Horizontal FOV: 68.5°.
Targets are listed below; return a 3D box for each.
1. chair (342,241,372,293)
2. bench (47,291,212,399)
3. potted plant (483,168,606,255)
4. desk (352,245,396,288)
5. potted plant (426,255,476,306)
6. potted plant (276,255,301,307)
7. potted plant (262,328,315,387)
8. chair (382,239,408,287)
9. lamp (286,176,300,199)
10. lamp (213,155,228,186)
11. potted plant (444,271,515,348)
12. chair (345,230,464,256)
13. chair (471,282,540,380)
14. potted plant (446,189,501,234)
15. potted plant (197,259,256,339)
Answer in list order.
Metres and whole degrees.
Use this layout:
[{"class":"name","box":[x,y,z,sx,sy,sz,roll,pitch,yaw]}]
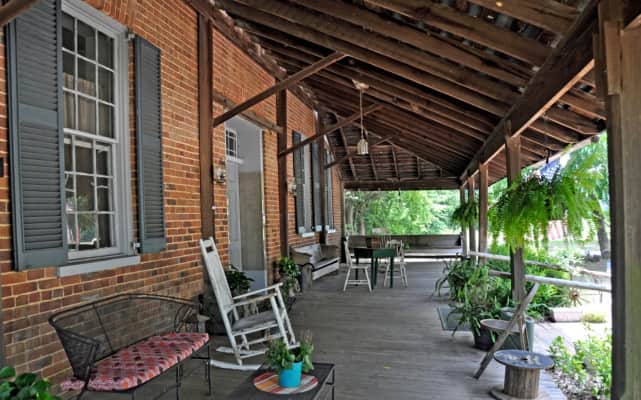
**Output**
[{"class":"chair","box":[0.811,1.495,10.409,0.808,1.012,0.793,4,-6,-19]},{"class":"bench","box":[-2.098,1.586,5.045,0.719,0.891,1.464,-1,-2,18]},{"class":"potted plant","box":[2.167,0.032,4.273,0.847,0.563,0.767,-17,-11,-26]},{"class":"desk","box":[1.181,1.652,10.315,0.760,1.030,1.246,2,-7,-8]},{"class":"potted plant","box":[2.483,1.475,8.494,0.942,0.695,0.977,-3,-12,20]},{"class":"potted plant","box":[-0.620,1.554,9.026,0.435,0.745,0.449,5,-14,18]},{"class":"potted plant","box":[-0.322,1.563,4.622,0.478,0.484,0.508,-2,-5,-3]},{"class":"chair","box":[1.878,1.473,11.231,0.574,1.009,0.694,7,-5,-34]},{"class":"lamp","box":[-0.629,-0.270,10.314,0.155,0.487,0.529,-2,-3,27]},{"class":"lamp","box":[-1.561,-0.453,7.364,0.165,0.425,0.159,4,4,-26]},{"class":"potted plant","box":[2.190,1.619,7.065,0.942,1.120,0.839,-4,0,26]},{"class":"chair","box":[3.409,1.719,16.571,3.104,1.086,0.738,-2,-3,11]},{"class":"chair","box":[2.250,1.617,5.730,0.762,1.125,0.739,2,-11,12]},{"class":"potted plant","box":[2.887,0.266,9.123,1.007,0.752,1.015,-7,25,26]},{"class":"potted plant","box":[-1.495,1.503,7.062,0.904,1.041,0.830,0,1,-10]}]
